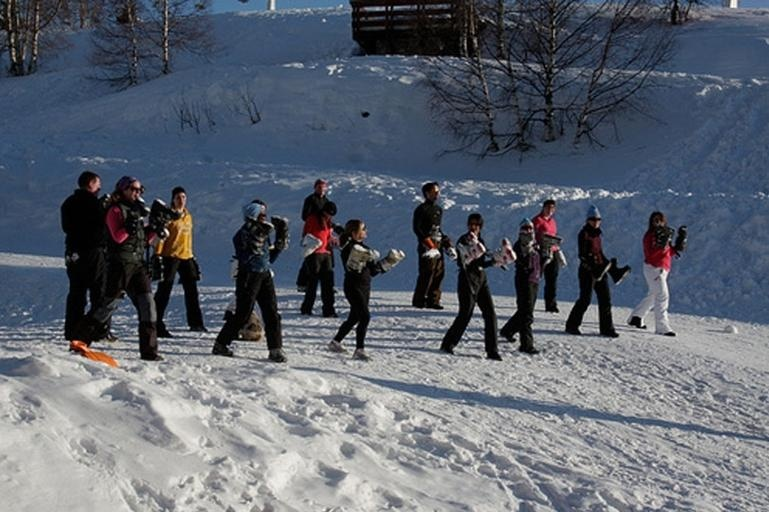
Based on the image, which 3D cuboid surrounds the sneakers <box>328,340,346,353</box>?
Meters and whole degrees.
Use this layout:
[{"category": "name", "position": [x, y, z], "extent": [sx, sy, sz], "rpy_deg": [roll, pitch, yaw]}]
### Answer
[{"category": "sneakers", "position": [-1.125, 2.189, 22.332], "extent": [0.456, 0.201, 0.219], "rpy_deg": [25, 21, -5]}]

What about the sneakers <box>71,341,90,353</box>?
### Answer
[{"category": "sneakers", "position": [-6.726, 2.029, 20.895], "extent": [0.517, 0.202, 0.231], "rpy_deg": [16, -22, -13]}]

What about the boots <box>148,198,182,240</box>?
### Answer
[{"category": "boots", "position": [-5.277, -0.922, 22.120], "extent": [0.770, 0.954, 0.339], "rpy_deg": [34, -8, -11]}]

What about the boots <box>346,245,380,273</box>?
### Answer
[{"category": "boots", "position": [-0.553, -0.009, 22.203], "extent": [0.673, 0.687, 0.676], "rpy_deg": [8, 9, -40]}]

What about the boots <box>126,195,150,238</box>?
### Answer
[{"category": "boots", "position": [-5.723, -0.975, 21.472], "extent": [0.335, 0.791, 0.558], "rpy_deg": [1, -12, 26]}]

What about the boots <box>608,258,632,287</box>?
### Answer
[{"category": "boots", "position": [6.013, 0.364, 24.350], "extent": [0.597, 0.353, 0.962], "rpy_deg": [31, -10, 5]}]

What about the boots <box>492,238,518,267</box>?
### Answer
[{"category": "boots", "position": [2.894, -0.071, 22.684], "extent": [0.396, 0.373, 0.960], "rpy_deg": [-24, -4, 2]}]

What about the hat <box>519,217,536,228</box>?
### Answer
[{"category": "hat", "position": [3.549, -0.903, 23.239], "extent": [0.285, 0.227, 0.434], "rpy_deg": [0, -5, -3]}]

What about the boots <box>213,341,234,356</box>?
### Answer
[{"category": "boots", "position": [-3.790, 2.157, 21.740], "extent": [0.619, 0.468, 0.224], "rpy_deg": [5, 2, -11]}]

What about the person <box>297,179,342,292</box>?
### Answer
[{"category": "person", "position": [-1.781, -0.488, 25.921], "extent": [1.060, 1.243, 3.351], "rpy_deg": [13, -32, 3]}]

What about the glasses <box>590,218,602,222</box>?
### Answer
[{"category": "glasses", "position": [5.463, -0.978, 24.164], "extent": [0.170, 0.079, 0.171], "rpy_deg": [5, 4, 32]}]

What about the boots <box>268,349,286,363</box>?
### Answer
[{"category": "boots", "position": [-2.441, 2.300, 21.484], "extent": [0.424, 0.322, 0.210], "rpy_deg": [-2, 1, 2]}]

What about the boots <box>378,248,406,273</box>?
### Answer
[{"category": "boots", "position": [0.122, 0.100, 22.120], "extent": [0.722, 0.417, 0.296], "rpy_deg": [-44, -7, 38]}]

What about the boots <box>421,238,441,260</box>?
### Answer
[{"category": "boots", "position": [1.323, -0.207, 24.849], "extent": [0.532, 0.484, 0.455], "rpy_deg": [15, -3, -33]}]

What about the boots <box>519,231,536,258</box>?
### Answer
[{"category": "boots", "position": [3.521, -0.294, 22.944], "extent": [0.573, 0.666, 0.368], "rpy_deg": [1, -9, -7]}]

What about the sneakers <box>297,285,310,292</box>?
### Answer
[{"category": "sneakers", "position": [-2.347, 0.931, 26.727], "extent": [0.227, 0.194, 0.219], "rpy_deg": [-1, -7, -17]}]

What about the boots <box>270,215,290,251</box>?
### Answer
[{"category": "boots", "position": [-2.411, -0.557, 21.937], "extent": [0.292, 0.730, 0.566], "rpy_deg": [4, 10, -14]}]

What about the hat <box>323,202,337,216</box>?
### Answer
[{"category": "hat", "position": [-1.394, -1.287, 24.178], "extent": [0.303, 0.373, 0.724], "rpy_deg": [0, 13, -7]}]

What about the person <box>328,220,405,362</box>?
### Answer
[{"category": "person", "position": [-0.567, 0.743, 22.111], "extent": [1.282, 3.223, 0.826], "rpy_deg": [8, 14, 30]}]

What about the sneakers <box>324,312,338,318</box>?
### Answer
[{"category": "sneakers", "position": [-1.388, 1.520, 24.515], "extent": [0.430, 0.210, 0.142], "rpy_deg": [-4, -1, 3]}]

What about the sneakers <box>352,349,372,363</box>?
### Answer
[{"category": "sneakers", "position": [-0.534, 2.349, 22.003], "extent": [0.389, 0.281, 0.217], "rpy_deg": [0, 2, -1]}]

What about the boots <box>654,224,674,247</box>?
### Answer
[{"category": "boots", "position": [7.299, -0.568, 24.401], "extent": [0.392, 0.551, 0.163], "rpy_deg": [7, -1, 13]}]

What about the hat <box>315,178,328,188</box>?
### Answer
[{"category": "hat", "position": [-1.687, -2.023, 25.044], "extent": [0.240, 0.212, 0.596], "rpy_deg": [2, 13, 1]}]

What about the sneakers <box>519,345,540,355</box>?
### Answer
[{"category": "sneakers", "position": [3.542, 2.264, 22.804], "extent": [0.401, 0.294, 0.232], "rpy_deg": [-5, 2, 6]}]
